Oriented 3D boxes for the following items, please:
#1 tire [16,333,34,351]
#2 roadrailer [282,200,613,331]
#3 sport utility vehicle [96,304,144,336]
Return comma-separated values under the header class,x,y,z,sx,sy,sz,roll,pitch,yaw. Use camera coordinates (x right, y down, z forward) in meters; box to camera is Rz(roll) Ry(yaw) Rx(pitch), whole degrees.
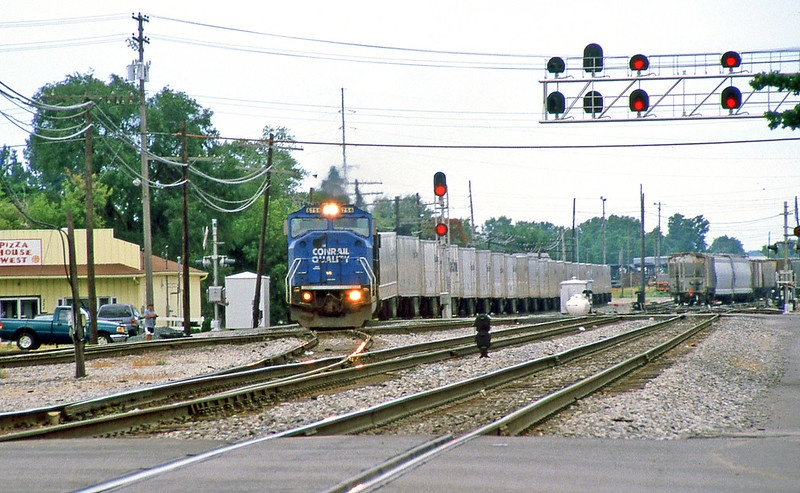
class,x,y,z,sx,sy,sz,roll,pitch,yaw
tire,-16.156,4.126,37.710,0.668,0.663,0.238,-3,-4,-3
roadrailer,4.989,2.126,56.334,4.760,5.241,34.530,-9,-7,27
sport utility vehicle,-13.306,3.443,41.340,2.068,1.015,1.237,3,-2,5
